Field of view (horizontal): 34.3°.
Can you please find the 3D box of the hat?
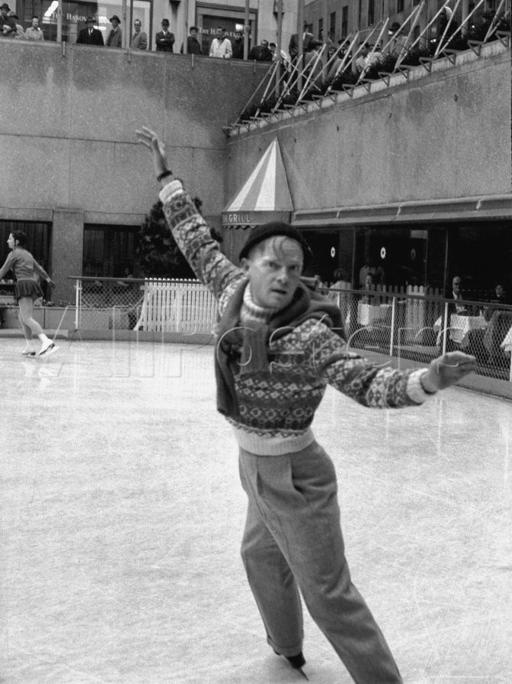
[{"bbox_3d":[0.066,-0.287,2.288,0.159,0.072,0.130,7,-29,-18],"label":"hat"}]
